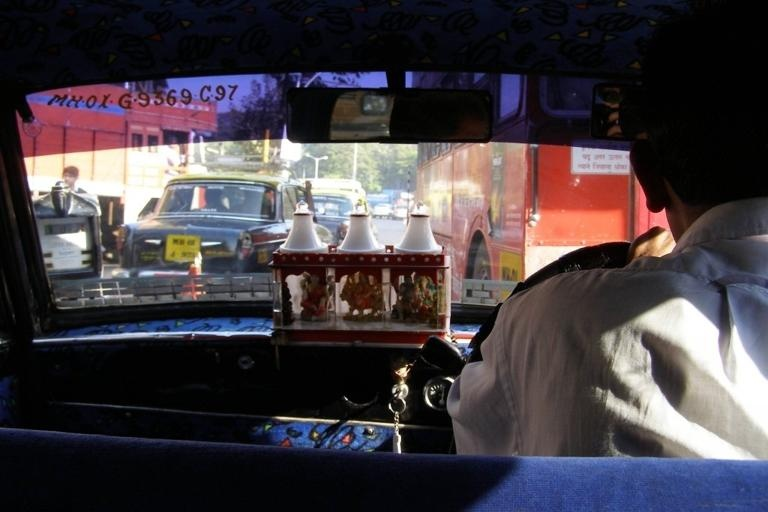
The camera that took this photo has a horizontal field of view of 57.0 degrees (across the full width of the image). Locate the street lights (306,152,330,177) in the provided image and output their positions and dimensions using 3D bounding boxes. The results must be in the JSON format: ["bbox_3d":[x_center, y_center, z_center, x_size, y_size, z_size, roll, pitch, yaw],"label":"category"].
[{"bbox_3d":[-0.310,-0.434,3.358,0.082,0.103,0.082,4,-14,-8],"label":"street lights"}]

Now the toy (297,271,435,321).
[{"bbox_3d":[-0.074,0.192,3.310,0.651,0.245,0.085,2,8,5],"label":"toy"}]

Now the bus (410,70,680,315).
[{"bbox_3d":[0.955,-0.348,4.630,0.838,1.085,2.152,0,-1,-11],"label":"bus"}]
